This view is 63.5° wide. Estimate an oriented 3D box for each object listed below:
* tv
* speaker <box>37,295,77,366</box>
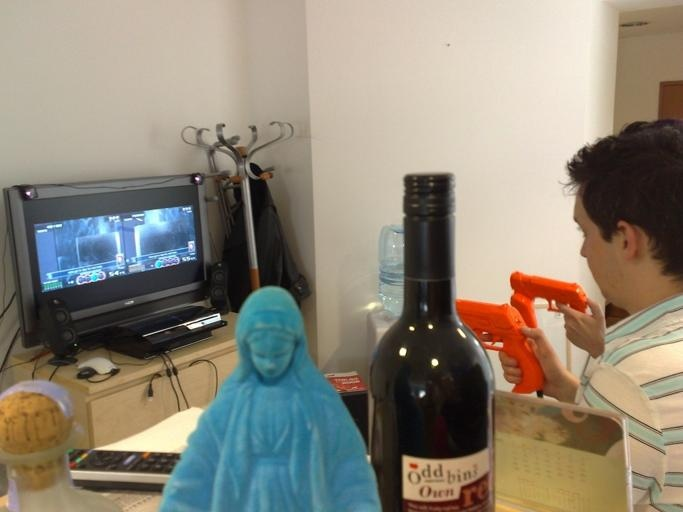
[{"bbox_3d":[-1.074,0.034,2.466,0.100,0.549,0.756,3,11,37],"label":"tv"},{"bbox_3d":[-1.164,0.311,2.292,0.129,0.288,0.152,-12,14,-39],"label":"speaker"}]
